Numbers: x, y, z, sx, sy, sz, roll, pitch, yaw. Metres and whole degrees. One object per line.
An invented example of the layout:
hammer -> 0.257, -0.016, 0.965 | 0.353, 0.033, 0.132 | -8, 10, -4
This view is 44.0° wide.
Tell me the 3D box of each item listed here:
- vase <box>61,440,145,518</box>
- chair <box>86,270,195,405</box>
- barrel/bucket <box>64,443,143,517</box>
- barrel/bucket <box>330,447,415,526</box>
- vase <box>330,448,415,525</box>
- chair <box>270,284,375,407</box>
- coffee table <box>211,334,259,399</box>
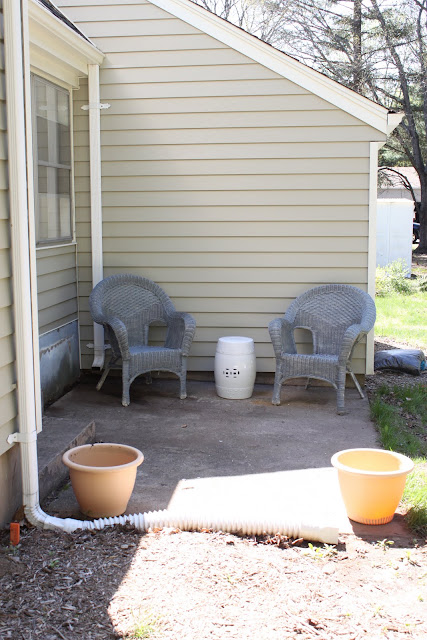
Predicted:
vase -> -0.484, 0.714, 2.337 | 0.350, 0.252, 0.351 | 3, 3, -6
chair -> -0.619, 0.157, 4.522 | 0.842, 1.013, 0.870 | 2, 6, -15
barrel/bucket -> -0.473, 0.674, 2.343 | 0.317, 0.228, 0.321 | 3, 9, 0
barrel/bucket -> 0.686, 0.762, 2.327 | 0.333, 0.228, 0.321 | 3, -3, 0
vase -> 0.693, 0.742, 2.339 | 0.350, 0.244, 0.354 | -3, 4, -24
chair -> 0.914, 0.096, 4.574 | 1.020, 1.265, 0.966 | 2, 2, 27
coffee table -> 0.194, 0.404, 4.571 | 0.363, 0.510, 0.363 | 1, 9, 0
